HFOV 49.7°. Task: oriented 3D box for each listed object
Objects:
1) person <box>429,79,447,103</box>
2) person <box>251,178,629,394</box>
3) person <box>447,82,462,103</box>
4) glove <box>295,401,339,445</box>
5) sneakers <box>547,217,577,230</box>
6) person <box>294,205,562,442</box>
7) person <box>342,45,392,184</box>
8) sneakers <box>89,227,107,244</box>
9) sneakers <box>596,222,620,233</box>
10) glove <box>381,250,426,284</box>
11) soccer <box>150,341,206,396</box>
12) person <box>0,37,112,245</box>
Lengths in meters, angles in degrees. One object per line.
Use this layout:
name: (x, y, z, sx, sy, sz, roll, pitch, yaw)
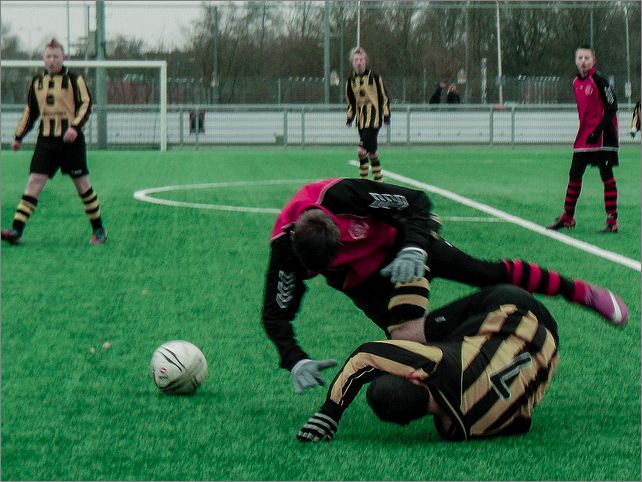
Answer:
person: (3.620, -4.614, 21.596, 0.372, 0.636, 1.603, 2, 13, 9)
person: (0.422, 0.095, 3.908, 1.643, 1.049, 1.111, -5, -27, -37)
person: (4.585, -5.077, 23.762, 0.423, 0.787, 1.149, 0, -10, 17)
glove: (-0.012, 0.830, 3.068, 0.128, 0.204, 0.074, 39, -13, 23)
sneakers: (2.434, -0.161, 7.007, 0.323, 0.171, 0.132, -2, 3, -17)
person: (0.593, 0.595, 3.043, 0.686, 1.100, 0.410, 25, -28, 27)
person: (0.746, -2.018, 11.194, 0.697, 2.155, 1.295, 0, 11, 2)
sneakers: (-2.075, -0.038, 6.456, 0.096, 0.197, 0.076, 36, -24, -21)
sneakers: (2.857, -0.133, 6.870, 0.156, 0.081, 0.091, 0, 2, -28)
glove: (0.410, 0.138, 3.343, 0.148, 0.181, 0.048, -8, -47, 36)
soccer: (-0.706, 0.639, 3.519, 0.229, 0.242, 0.255, 28, 37, -27)
person: (-2.538, -0.978, 6.636, 0.942, 1.876, 0.978, -2, 11, -12)
